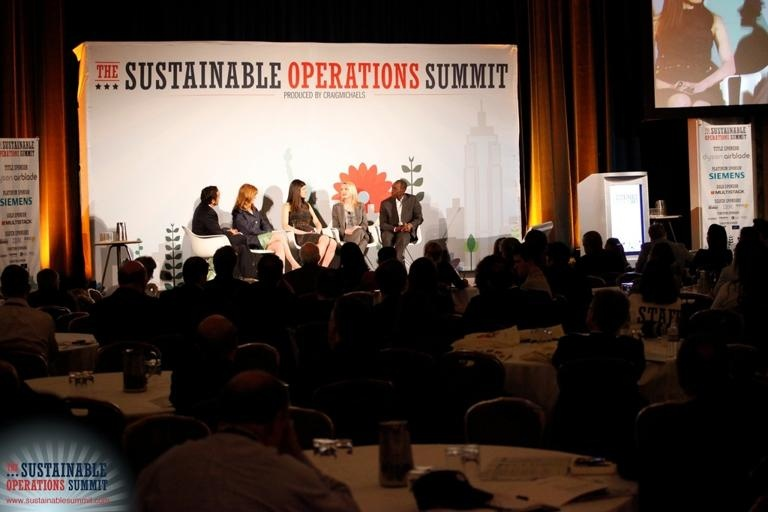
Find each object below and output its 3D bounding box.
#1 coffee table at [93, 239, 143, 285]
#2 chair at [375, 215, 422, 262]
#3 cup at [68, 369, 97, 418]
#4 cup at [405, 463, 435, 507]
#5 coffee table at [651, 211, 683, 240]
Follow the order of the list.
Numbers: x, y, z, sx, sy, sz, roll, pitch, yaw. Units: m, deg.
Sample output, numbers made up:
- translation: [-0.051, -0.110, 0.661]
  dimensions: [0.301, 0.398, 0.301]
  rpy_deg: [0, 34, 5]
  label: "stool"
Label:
- translation: [-4.038, 0.061, 10.696]
  dimensions: [0.671, 0.801, 0.722]
  rpy_deg: [0, 2, -17]
  label: "coffee table"
- translation: [0.267, -0.279, 12.420]
  dimensions: [0.526, 0.993, 0.663]
  rpy_deg: [0, -12, 2]
  label: "chair"
- translation: [-2.287, 1.049, 5.402]
  dimensions: [0.202, 0.312, 0.262]
  rpy_deg: [2, 5, 11]
  label: "cup"
- translation: [0.185, 1.198, 3.662]
  dimensions: [0.125, 0.149, 0.086]
  rpy_deg: [-3, -3, -16]
  label: "cup"
- translation: [4.996, -0.522, 12.546]
  dimensions: [0.466, 0.718, 0.466]
  rpy_deg: [-4, 2, -29]
  label: "coffee table"
